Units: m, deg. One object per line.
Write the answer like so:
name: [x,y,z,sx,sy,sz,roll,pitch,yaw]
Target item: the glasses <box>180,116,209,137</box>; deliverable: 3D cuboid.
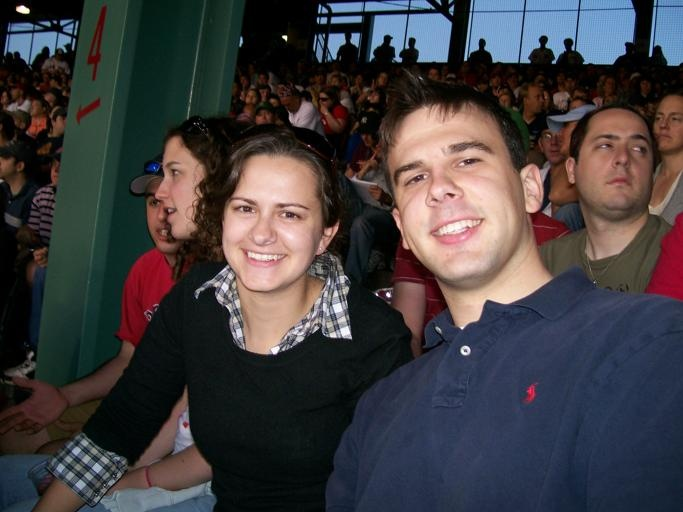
glasses: [-0.859,-0.799,3.150,0.125,0.156,0.057,10,31,9]
